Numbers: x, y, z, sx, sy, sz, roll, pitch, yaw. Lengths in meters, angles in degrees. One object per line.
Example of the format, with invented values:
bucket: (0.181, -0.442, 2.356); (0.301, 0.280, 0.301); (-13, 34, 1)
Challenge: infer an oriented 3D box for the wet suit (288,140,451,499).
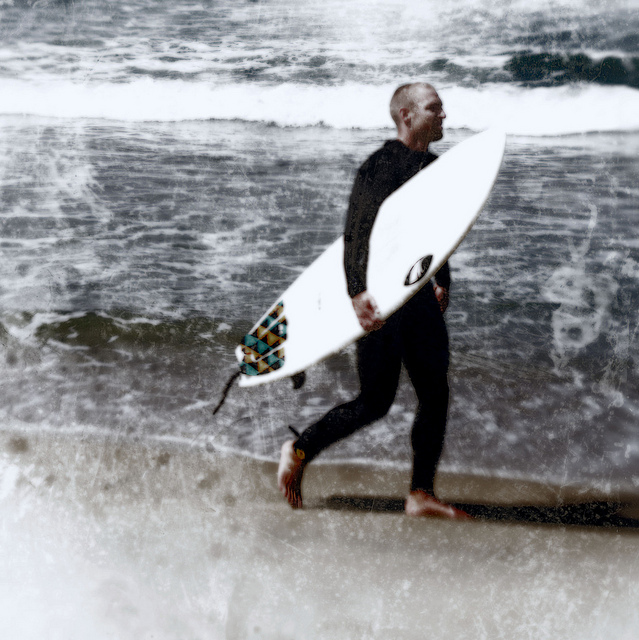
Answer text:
wet suit: (0.281, 0.048, 4.506); (0.698, 1.638, 0.516); (2, 31, 8)

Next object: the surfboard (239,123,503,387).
surfboard: (0.301, -0.312, 4.622); (0.470, 1.625, 0.230); (50, 14, 22)

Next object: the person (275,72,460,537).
person: (0.245, -0.030, 4.503); (0.824, 1.934, 0.812); (2, 31, 9)
